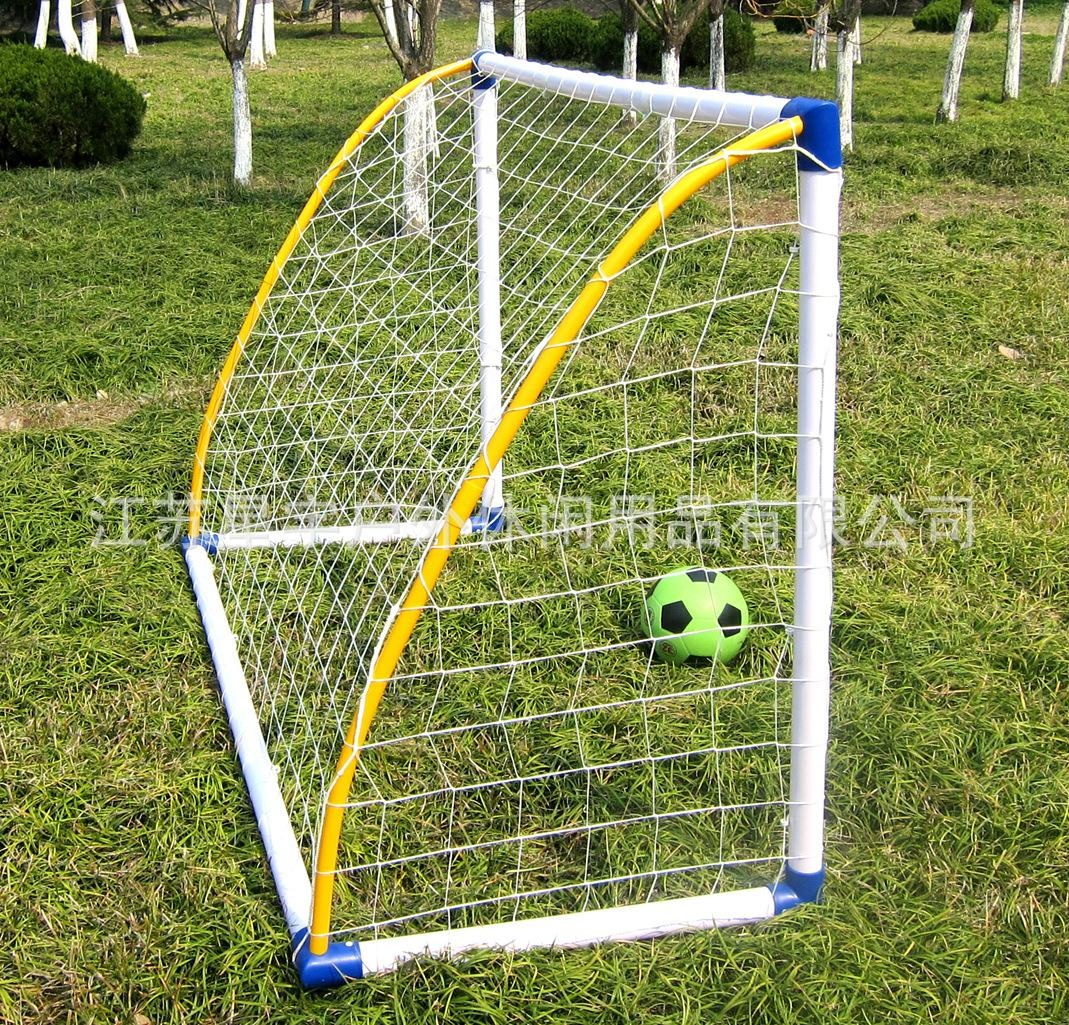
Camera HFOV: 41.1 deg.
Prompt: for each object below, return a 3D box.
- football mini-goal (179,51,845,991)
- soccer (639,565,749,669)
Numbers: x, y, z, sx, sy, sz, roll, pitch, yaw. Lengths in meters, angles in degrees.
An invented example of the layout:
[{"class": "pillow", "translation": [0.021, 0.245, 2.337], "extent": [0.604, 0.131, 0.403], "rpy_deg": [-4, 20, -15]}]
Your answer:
[{"class": "football mini-goal", "translation": [-0.091, 0.035, 5.181], "extent": [1.944, 2.524, 3.325], "rpy_deg": [-5, 20, -14]}, {"class": "soccer", "translation": [0.531, 0.346, 4.738], "extent": [0.361, 0.322, 0.357], "rpy_deg": [5, 17, 8]}]
